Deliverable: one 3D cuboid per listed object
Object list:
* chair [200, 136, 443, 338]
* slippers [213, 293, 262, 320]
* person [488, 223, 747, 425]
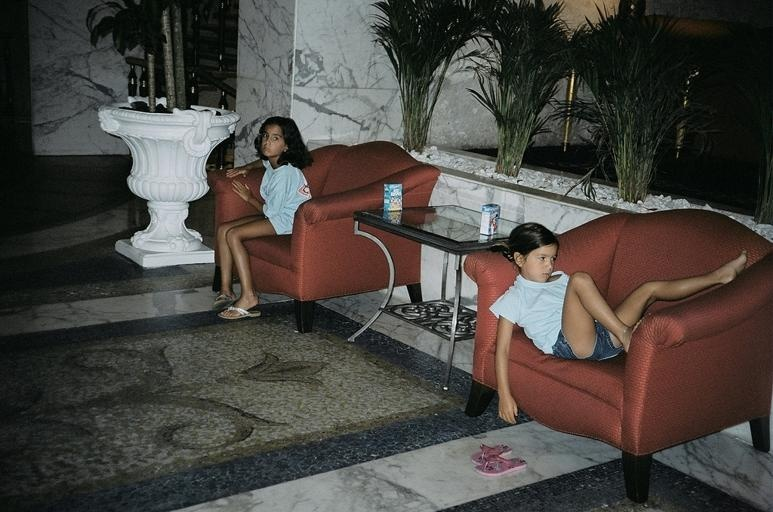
[{"bbox_3d":[-0.409,-0.214,4.382,1.568,1.463,1.793,-9,17,-35],"label":"chair"},{"bbox_3d":[-1.058,0.358,3.798,0.323,0.065,0.162,-2,19,-46],"label":"slippers"},{"bbox_3d":[0.918,0.236,2.621,1.201,0.745,0.855,-9,8,41],"label":"person"}]
